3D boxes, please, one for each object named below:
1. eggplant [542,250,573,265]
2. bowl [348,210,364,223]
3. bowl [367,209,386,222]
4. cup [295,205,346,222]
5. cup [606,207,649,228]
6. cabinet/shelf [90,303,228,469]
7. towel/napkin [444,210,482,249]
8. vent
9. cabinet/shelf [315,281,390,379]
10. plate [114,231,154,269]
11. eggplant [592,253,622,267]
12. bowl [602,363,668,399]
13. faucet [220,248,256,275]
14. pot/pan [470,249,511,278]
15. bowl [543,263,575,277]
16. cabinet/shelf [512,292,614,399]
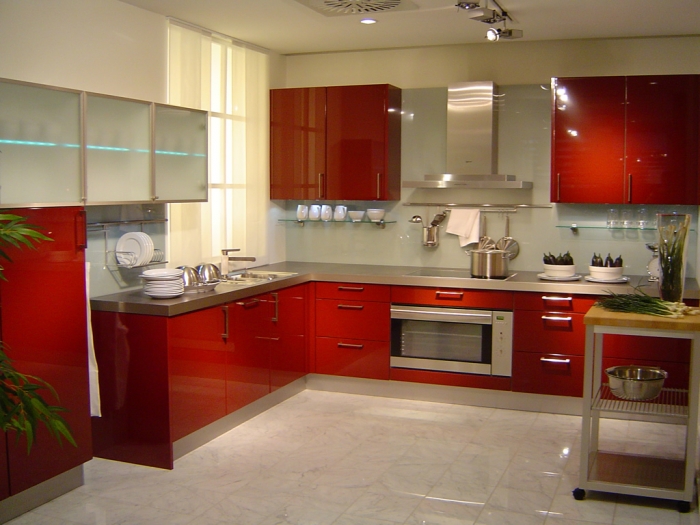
[{"bbox_3d":[1.769,-0.028,4.641,0.207,0.106,0.169,1,-2,13],"label":"eggplant"},{"bbox_3d":[0.047,-0.470,5.525,0.126,0.077,0.124,-1,2,0],"label":"bowl"},{"bbox_3d":[0.251,-0.469,5.426,0.141,0.093,0.136,0,0,0],"label":"bowl"},{"bbox_3d":[-0.312,-0.505,5.565,0.323,0.104,0.233,0,1,18],"label":"cup"},{"bbox_3d":[2.443,-0.394,4.803,0.329,0.193,0.102,2,6,23],"label":"cup"},{"bbox_3d":[-1.341,0.656,4.185,0.912,1.206,1.324,0,3,14],"label":"cabinet/shelf"},{"bbox_3d":[1.085,-0.337,5.245,0.344,0.323,0.146,12,2,19],"label":"towel/napkin"},{"bbox_3d":[0.947,-1.188,5.172,1.399,0.943,0.538,-5,6,-32],"label":"vent"},{"bbox_3d":[0.095,0.577,5.196,0.831,0.917,0.714,3,6,30],"label":"cabinet/shelf"},{"bbox_3d":[-1.541,-0.098,3.882,0.259,0.238,0.207,-3,7,-28],"label":"plate"},{"bbox_3d":[2.159,-0.008,4.557,0.189,0.119,0.182,-2,2,-26],"label":"eggplant"},{"bbox_3d":[1.704,0.723,3.252,0.328,0.134,0.322,-5,3,0],"label":"bowl"},{"bbox_3d":[-1.019,-0.016,4.872,0.277,0.243,0.718,-1,6,-10],"label":"faucet"},{"bbox_3d":[1.202,-0.015,4.727,0.258,0.163,0.283,2,4,34],"label":"pot/pan"},{"bbox_3d":[1.751,0.061,4.587,0.231,0.108,0.129,2,6,19],"label":"bowl"},{"bbox_3d":[1.678,0.670,4.814,0.837,1.073,0.755,0,0,23],"label":"cabinet/shelf"}]
